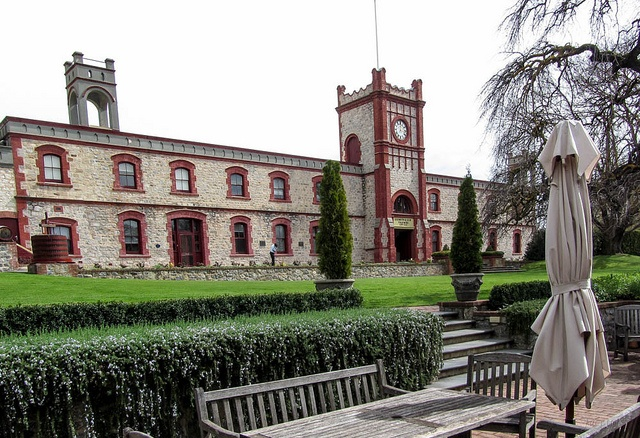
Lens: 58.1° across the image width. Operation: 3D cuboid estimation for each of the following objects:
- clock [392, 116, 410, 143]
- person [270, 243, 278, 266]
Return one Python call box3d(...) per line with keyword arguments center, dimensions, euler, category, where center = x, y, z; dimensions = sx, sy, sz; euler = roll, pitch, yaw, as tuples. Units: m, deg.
box3d(center=(5.484, -6.103, 39.269), dimensions=(0.129, 1.987, 1.989), euler=(-20, -16, 41), category="clock")
box3d(center=(-2.614, 1.953, 32.774), dimensions=(0.390, 1.276, 1.482), euler=(-3, -7, -5), category="person")
